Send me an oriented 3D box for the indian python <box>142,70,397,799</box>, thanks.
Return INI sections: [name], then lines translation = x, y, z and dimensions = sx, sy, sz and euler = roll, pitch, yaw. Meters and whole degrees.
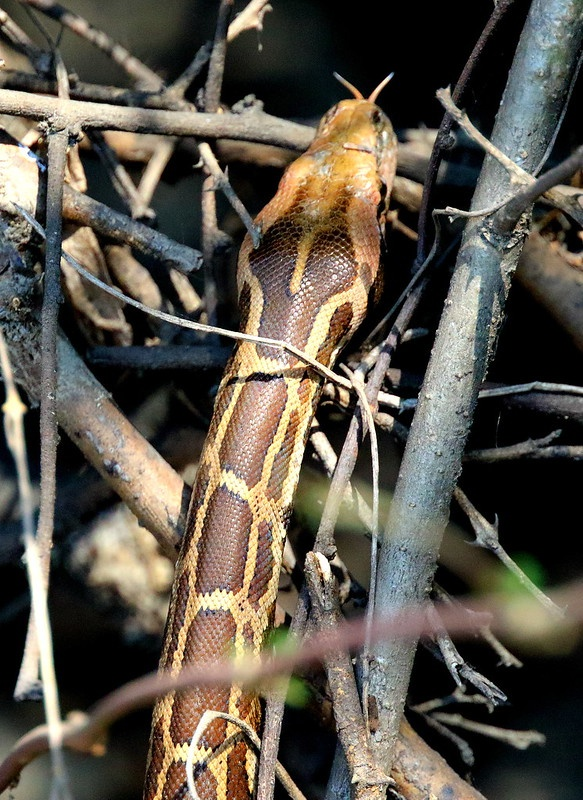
[indian python]
translation = -0.102, 0.156, 3.176
dimensions = 0.480, 2.644, 0.356
euler = 17, -11, -19
